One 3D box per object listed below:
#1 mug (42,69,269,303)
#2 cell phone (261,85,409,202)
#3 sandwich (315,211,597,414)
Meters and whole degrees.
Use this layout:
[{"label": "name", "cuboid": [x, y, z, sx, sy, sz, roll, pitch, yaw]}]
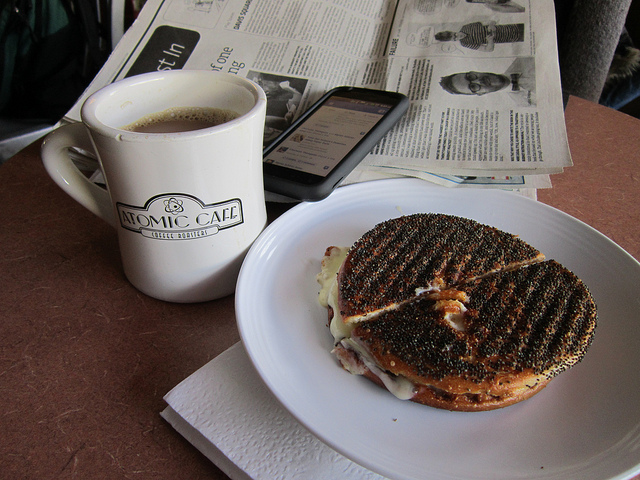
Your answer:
[{"label": "mug", "cuboid": [-0.197, -0.063, 0.602, 0.258, 0.212, 0.160, 1, 37, -4]}, {"label": "cell phone", "cuboid": [0.019, -0.150, 0.738, 0.135, 0.037, 0.233, 19, 49, 28]}, {"label": "sandwich", "cuboid": [0.141, 0.079, 0.554, 0.227, 0.055, 0.208, -6, 37, -4]}]
